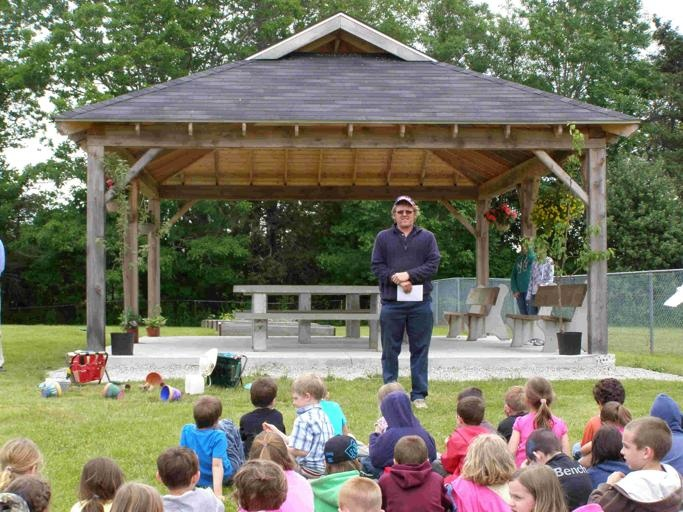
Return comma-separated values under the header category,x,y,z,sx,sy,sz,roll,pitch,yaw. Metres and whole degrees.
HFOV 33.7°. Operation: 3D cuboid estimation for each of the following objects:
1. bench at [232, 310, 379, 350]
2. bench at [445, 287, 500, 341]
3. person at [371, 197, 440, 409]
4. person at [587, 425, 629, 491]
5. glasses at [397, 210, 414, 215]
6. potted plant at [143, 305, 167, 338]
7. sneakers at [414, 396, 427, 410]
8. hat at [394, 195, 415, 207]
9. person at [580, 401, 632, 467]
category,x,y,z,sx,sy,sz,roll,pitch,yaw
bench,-0.418,1.635,24.287,2.656,0.903,3.606,1,-5,11
bench,3.063,1.315,26.055,0.993,1.276,1.834,1,-5,-12
person,1.148,0.830,20.194,1.168,3.774,0.599,1,-4,2
person,4.108,3.128,17.222,0.902,0.883,0.514,-1,8,6
glasses,1.139,-0.747,20.149,0.263,0.078,0.050,2,-4,2
potted plant,-4.385,1.531,26.381,0.642,0.882,0.711,1,-6,-9
sneakers,1.412,2.654,20.223,0.212,0.125,0.338,-1,-1,4
hat,1.150,-0.964,20.187,0.347,0.200,0.281,2,-4,2
person,4.126,2.819,18.092,0.774,1.056,0.993,5,-9,-18
